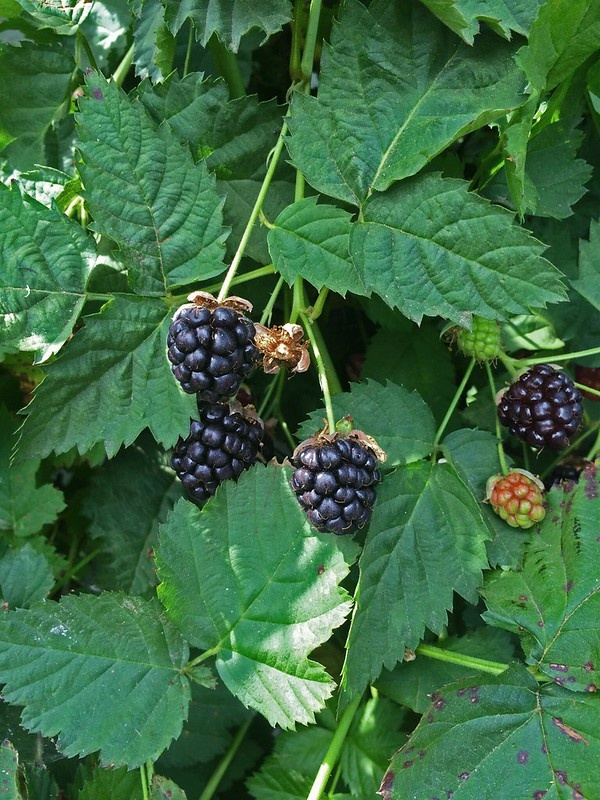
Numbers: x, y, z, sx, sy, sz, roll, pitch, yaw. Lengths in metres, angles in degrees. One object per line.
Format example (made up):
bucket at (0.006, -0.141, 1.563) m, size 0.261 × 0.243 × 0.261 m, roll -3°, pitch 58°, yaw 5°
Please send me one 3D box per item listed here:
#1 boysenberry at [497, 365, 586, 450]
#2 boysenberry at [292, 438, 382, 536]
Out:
boysenberry at (0.336, 0.012, 1.145) m, size 0.100 × 0.077 × 0.129 m, roll -17°, pitch 35°, yaw -4°
boysenberry at (0.027, 0.101, 0.946) m, size 0.105 × 0.111 × 0.109 m, roll 2°, pitch 3°, yaw 25°
